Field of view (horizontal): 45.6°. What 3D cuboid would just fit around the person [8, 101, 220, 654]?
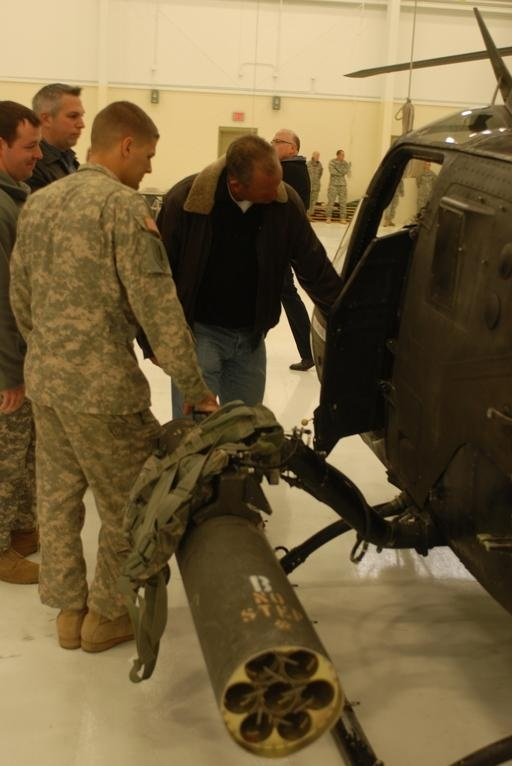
[{"bbox_3d":[-0.500,0.026,1.809,0.644,1.756,0.474,4,7,26],"label":"person"}]

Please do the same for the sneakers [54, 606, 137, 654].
[{"bbox_3d":[-0.540,0.808,2.045,0.118,0.144,0.224,10,14,35],"label":"sneakers"}]

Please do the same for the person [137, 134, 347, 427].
[{"bbox_3d":[-0.089,-0.280,2.792,0.970,1.646,0.533,-2,36,-10],"label":"person"}]
